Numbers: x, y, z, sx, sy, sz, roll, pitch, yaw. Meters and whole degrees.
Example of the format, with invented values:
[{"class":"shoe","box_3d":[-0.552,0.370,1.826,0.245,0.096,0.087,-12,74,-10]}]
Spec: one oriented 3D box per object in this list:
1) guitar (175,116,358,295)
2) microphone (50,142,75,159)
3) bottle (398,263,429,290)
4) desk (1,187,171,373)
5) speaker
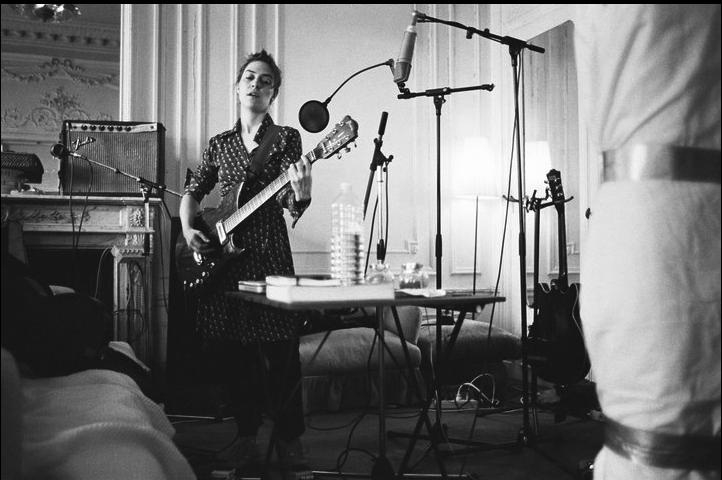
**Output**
[{"class":"guitar","box_3d":[-0.506,-0.162,3.720,0.954,0.830,0.265,2,1,29]},{"class":"microphone","box_3d":[-1.837,-0.561,4.795,0.114,0.106,0.265,1,1,-23]},{"class":"bottle","box_3d":[0.236,0.163,3.426,0.105,0.113,0.112,1,-12,1]},{"class":"desk","box_3d":[-1.510,0.179,4.257,1.005,1.034,0.433,2,-10,-22]},{"class":"speaker","box_3d":[-1.597,-0.532,5.111,0.712,0.664,0.432,2,-7,-14]}]
